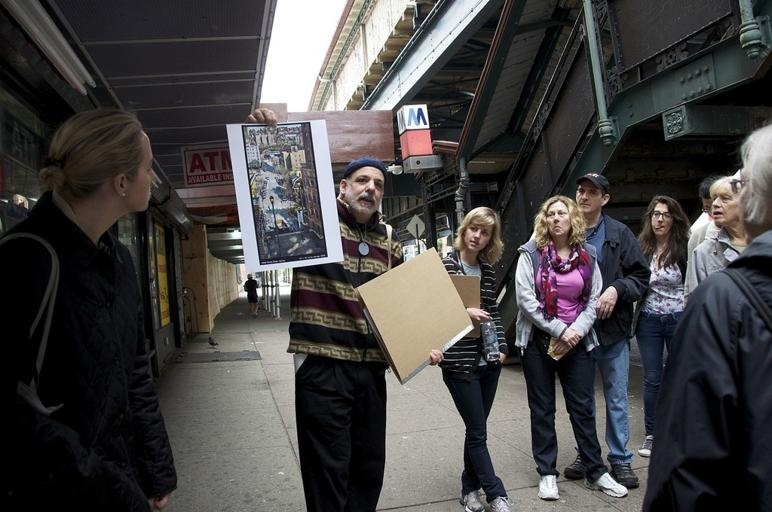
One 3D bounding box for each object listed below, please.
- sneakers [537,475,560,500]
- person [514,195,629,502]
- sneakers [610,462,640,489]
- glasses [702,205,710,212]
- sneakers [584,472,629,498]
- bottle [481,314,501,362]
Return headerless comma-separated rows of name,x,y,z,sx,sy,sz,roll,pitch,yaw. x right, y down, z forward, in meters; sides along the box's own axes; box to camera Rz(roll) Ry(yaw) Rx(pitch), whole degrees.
sneakers,1.309,1.870,4.348,0.107,0.106,0.237,-1,-10,6
person,1.487,0.716,4.542,0.788,2.487,0.571,-3,0,13
sneakers,1.971,1.817,4.468,0.103,0.127,0.280,3,-13,-4
glasses,3.111,-0.454,5.274,0.023,0.075,0.074,12,2,13
sneakers,1.794,1.838,4.414,0.304,0.145,0.134,0,1,45
bottle,0.819,0.662,4.168,0.175,0.327,0.104,-3,0,-35
